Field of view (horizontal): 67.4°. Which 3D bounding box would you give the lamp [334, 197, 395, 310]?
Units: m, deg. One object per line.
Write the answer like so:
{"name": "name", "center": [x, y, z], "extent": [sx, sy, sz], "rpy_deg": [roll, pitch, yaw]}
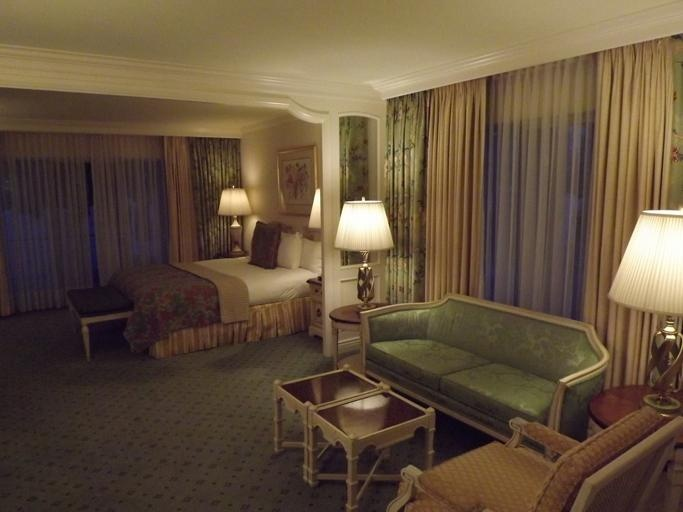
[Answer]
{"name": "lamp", "center": [0.255, -0.025, 5.161], "extent": [0.544, 1.089, 0.627], "rpy_deg": [6, 15, 25]}

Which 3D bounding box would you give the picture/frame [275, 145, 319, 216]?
{"name": "picture/frame", "center": [-0.653, -1.112, 7.506], "extent": [0.046, 0.977, 1.131], "rpy_deg": [5, 13, 26]}

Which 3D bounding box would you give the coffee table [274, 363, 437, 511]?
{"name": "coffee table", "center": [0.129, 0.983, 3.631], "extent": [0.754, 0.641, 1.121], "rpy_deg": [-4, 9, -31]}

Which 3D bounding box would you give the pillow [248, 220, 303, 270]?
{"name": "pillow", "center": [-0.851, -0.104, 7.268], "extent": [0.307, 0.700, 0.672], "rpy_deg": [12, -3, -37]}

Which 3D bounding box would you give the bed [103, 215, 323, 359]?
{"name": "bed", "center": [-1.491, 0.499, 6.326], "extent": [1.835, 0.889, 1.825], "rpy_deg": [-4, 10, -31]}
